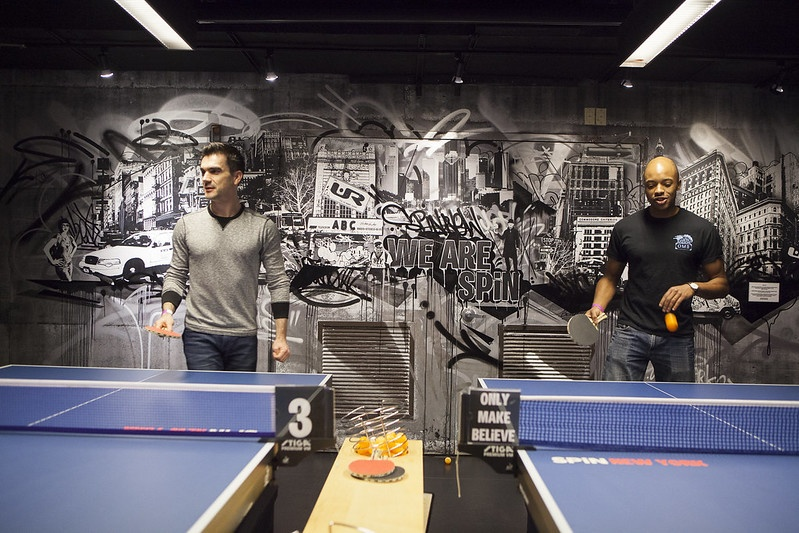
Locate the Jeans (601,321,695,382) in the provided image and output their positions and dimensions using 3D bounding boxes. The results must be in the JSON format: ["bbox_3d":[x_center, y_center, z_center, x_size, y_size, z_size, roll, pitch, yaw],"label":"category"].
[{"bbox_3d":[1.868,0.636,4.494,0.568,0.519,0.219,3,-13,11],"label":"Jeans"}]

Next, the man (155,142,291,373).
[{"bbox_3d":[-1.257,-0.062,4.395,0.889,1.640,0.350,1,-3,-15],"label":"man"}]

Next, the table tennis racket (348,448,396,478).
[{"bbox_3d":[-0.196,1.356,4.049,0.242,0.085,0.282,-3,-4,43],"label":"table tennis racket"}]

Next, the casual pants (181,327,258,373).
[{"bbox_3d":[-1.292,0.596,4.326,0.323,0.425,0.155,0,-5,-18],"label":"casual pants"}]

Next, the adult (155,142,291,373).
[{"bbox_3d":[-1.257,-0.062,4.395,0.889,1.640,0.351,1,-3,-15],"label":"adult"}]
